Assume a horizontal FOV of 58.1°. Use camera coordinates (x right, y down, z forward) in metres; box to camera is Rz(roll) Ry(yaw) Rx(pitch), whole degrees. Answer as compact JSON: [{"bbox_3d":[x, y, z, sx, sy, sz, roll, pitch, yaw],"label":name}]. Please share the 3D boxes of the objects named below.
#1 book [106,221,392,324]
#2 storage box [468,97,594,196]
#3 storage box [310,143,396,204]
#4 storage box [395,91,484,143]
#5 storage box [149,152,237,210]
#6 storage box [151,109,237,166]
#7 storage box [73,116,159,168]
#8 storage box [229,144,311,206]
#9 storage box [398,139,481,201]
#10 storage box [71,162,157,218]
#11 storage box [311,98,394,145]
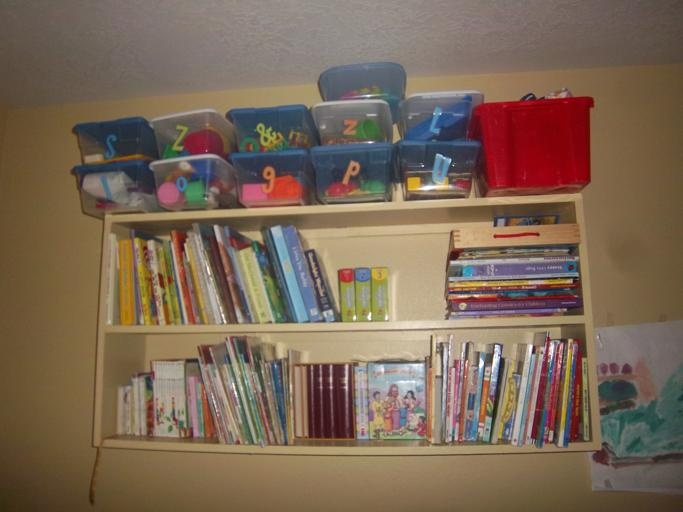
[{"bbox_3d":[-0.496,0.074,2.547,0.953,0.344,0.149,-2,-1,7],"label":"book"},{"bbox_3d":[0.775,-0.416,2.538,0.520,0.353,0.356,-4,-9,8],"label":"storage box"},{"bbox_3d":[0.023,-0.308,2.340,0.213,0.158,0.295,0,4,10],"label":"storage box"},{"bbox_3d":[0.448,-0.597,2.681,0.417,0.218,0.503,0,5,10],"label":"storage box"},{"bbox_3d":[-0.617,-0.296,2.500,0.279,0.140,0.211,-3,-4,4],"label":"storage box"},{"bbox_3d":[-0.609,-0.491,2.638,0.362,0.158,0.308,-2,-5,34],"label":"storage box"},{"bbox_3d":[-1.044,-0.478,2.644,0.265,0.170,0.353,1,15,41],"label":"storage box"},{"bbox_3d":[-0.341,-0.330,2.596,0.381,0.226,0.291,3,13,37],"label":"storage box"},{"bbox_3d":[0.376,-0.329,2.379,0.282,0.178,0.210,0,1,9],"label":"storage box"},{"bbox_3d":[-0.955,-0.302,2.658,0.378,0.205,0.297,-1,15,10],"label":"storage box"},{"bbox_3d":[0.042,-0.530,2.448,0.260,0.107,0.187,-2,-9,8],"label":"storage box"}]
